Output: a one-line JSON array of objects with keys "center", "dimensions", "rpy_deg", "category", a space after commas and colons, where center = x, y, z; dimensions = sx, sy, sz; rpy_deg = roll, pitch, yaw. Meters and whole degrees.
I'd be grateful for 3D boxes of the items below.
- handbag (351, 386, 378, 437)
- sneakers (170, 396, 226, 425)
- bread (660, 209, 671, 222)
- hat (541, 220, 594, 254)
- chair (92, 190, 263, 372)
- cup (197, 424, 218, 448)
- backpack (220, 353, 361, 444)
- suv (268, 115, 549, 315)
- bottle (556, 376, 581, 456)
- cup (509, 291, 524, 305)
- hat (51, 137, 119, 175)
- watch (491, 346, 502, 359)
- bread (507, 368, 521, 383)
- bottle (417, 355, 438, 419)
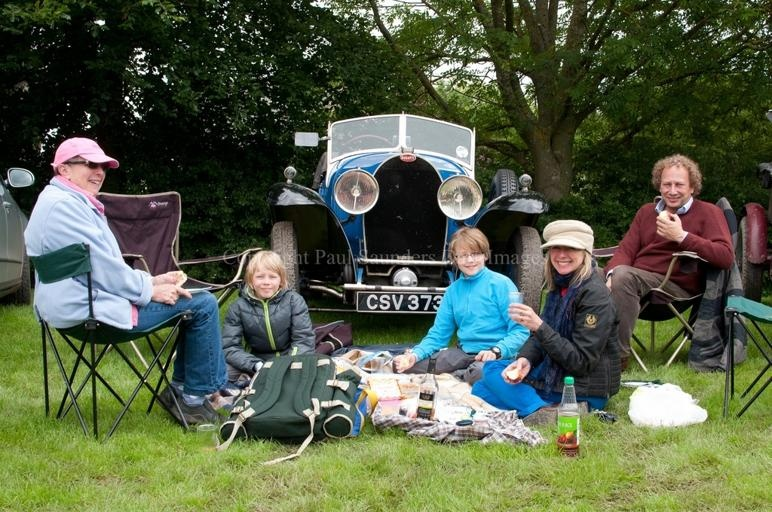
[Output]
[{"center": [-0.259, 1.370, 8.262], "dimensions": [0.226, 0.349, 0.355], "rpy_deg": [11, -35, -7], "category": "handbag"}, {"center": [-1.684, 1.381, 8.359], "dimensions": [0.536, 0.239, 0.198], "rpy_deg": [5, 0, -8], "category": "sneakers"}, {"center": [2.784, -0.403, 9.196], "dimensions": [0.114, 0.073, 0.159], "rpy_deg": [-2, 9, 13], "category": "bread"}, {"center": [1.671, -0.167, 8.352], "dimensions": [0.385, 0.202, 0.287], "rpy_deg": [3, -10, -43], "category": "hat"}, {"center": [-2.184, 0.188, 11.170], "dimensions": [1.485, 1.952, 1.259], "rpy_deg": [-5, 8, -25], "category": "chair"}, {"center": [-1.519, 1.536, 7.972], "dimensions": [0.172, 0.190, 0.177], "rpy_deg": [1, 2, 0], "category": "cup"}, {"center": [-0.805, 1.254, 8.108], "dimensions": [1.157, 0.769, 0.364], "rpy_deg": [3, 0, 0], "category": "backpack"}, {"center": [0.069, -0.519, 10.238], "dimensions": [1.931, 1.545, 3.195], "rpy_deg": [0, 0, -5], "category": "suv"}, {"center": [1.556, 1.353, 7.842], "dimensions": [0.215, 0.656, 0.172], "rpy_deg": [3, 0, -36], "category": "bottle"}, {"center": [1.155, 0.369, 8.192], "dimensions": [0.108, 0.118, 0.103], "rpy_deg": [0, 0, 0], "category": "cup"}, {"center": [-2.684, -0.891, 8.211], "dimensions": [0.478, 0.259, 0.328], "rpy_deg": [-3, 5, -13], "category": "hat"}, {"center": [1.041, 0.905, 8.692], "dimensions": [0.081, 0.102, 0.108], "rpy_deg": [4, 4, -4], "category": "watch"}, {"center": [1.134, 1.062, 8.223], "dimensions": [0.122, 0.121, 0.048], "rpy_deg": [3, 0, -24], "category": "bread"}, {"center": [0.364, 1.245, 8.253], "dimensions": [0.151, 0.487, 0.117], "rpy_deg": [3, 0, -2], "category": "bottle"}]
